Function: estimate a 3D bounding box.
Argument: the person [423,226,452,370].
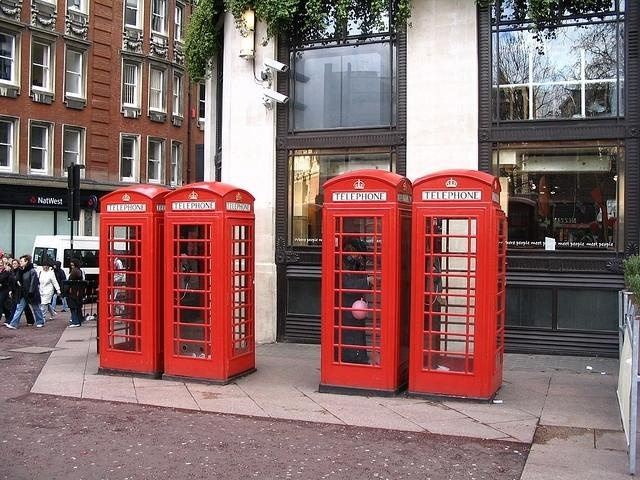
[{"bbox_3d":[1.854,0.845,10.065,0.359,2.354,0.194,1,5,11],"label":"person"}]

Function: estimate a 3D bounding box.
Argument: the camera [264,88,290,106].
[{"bbox_3d":[-1.030,-3.373,14.678,0.390,0.114,0.407,22,4,-12],"label":"camera"}]

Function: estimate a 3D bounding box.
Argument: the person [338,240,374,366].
[{"bbox_3d":[0.596,0.976,10.416,0.469,2.033,0.118,2,5,17],"label":"person"}]

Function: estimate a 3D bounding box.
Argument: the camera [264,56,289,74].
[{"bbox_3d":[-1.002,-4.053,14.676,0.182,0.389,0.462,20,16,-45],"label":"camera"}]

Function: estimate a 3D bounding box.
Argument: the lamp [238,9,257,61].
[{"bbox_3d":[-1.681,-4.849,14.836,0.325,1.057,0.348,-1,5,-11],"label":"lamp"}]
